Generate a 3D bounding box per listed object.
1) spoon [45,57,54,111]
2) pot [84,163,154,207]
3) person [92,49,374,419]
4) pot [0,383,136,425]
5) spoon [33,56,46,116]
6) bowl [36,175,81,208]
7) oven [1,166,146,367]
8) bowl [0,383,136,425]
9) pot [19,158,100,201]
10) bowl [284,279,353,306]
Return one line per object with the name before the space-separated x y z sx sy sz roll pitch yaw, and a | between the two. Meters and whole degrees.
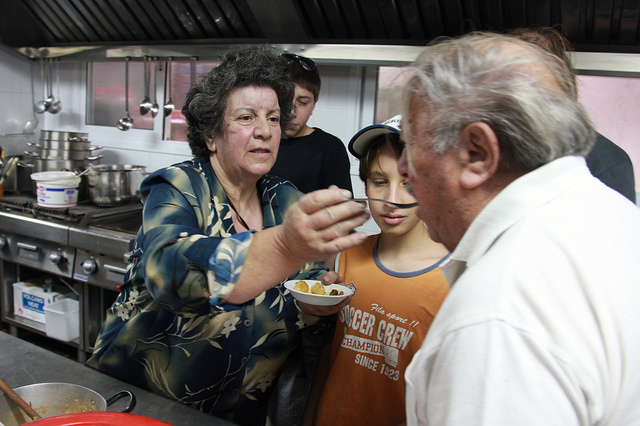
spoon | -2.340 -1.075 4.126 0.069 0.411 0.184 3 5 -30
pot | -1.465 -0.188 3.407 0.514 0.233 0.378 -4 12 -39
person | -0.273 0.071 1.603 0.866 1.279 0.822 6 5 7
pot | -0.667 0.464 1.208 0.203 0.067 0.130 3 9 -22
spoon | -2.413 -1.070 4.121 0.083 0.455 0.242 3 5 -31
bowl | -1.777 -0.139 3.228 0.330 0.180 0.283 3 8 2
oven | -1.437 0.278 2.766 1.365 0.947 0.519 7 6 34
bowl | -0.640 0.437 1.188 0.204 0.067 0.130 3 7 -21
pot | -1.948 -0.242 3.569 0.585 0.258 0.342 1 -7 -7
bowl | -0.001 0.257 1.562 0.216 0.069 0.189 3 4 -15
